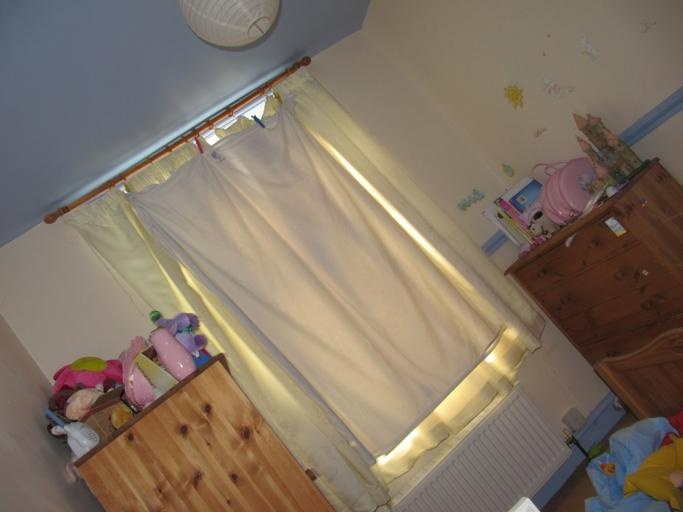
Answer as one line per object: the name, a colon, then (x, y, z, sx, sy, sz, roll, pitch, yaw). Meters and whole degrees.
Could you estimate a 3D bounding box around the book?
book: (1.119, -0.255, 3.202, 0.400, 0.404, 0.095, -44, -26, 24)

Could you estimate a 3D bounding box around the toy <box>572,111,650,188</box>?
toy: (1.564, -0.596, 2.943, 0.130, 0.472, 0.219, -3, -36, -53)

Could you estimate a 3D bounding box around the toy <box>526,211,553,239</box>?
toy: (1.266, -0.184, 3.247, 0.038, 0.159, 0.146, 8, -9, -41)
